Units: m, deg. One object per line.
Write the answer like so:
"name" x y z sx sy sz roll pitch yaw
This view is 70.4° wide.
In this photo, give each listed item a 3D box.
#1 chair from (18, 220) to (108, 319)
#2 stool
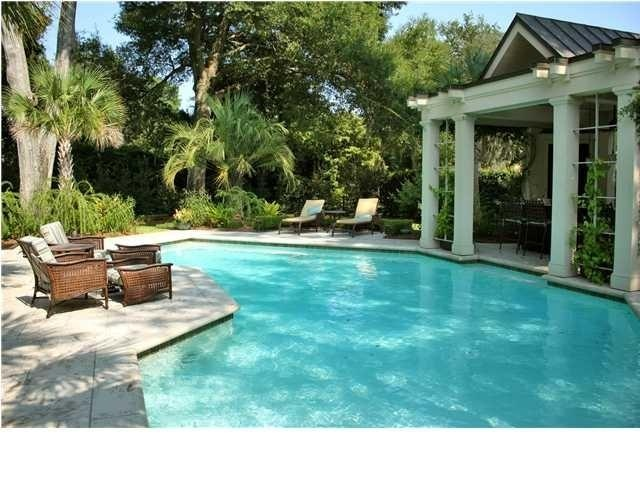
"chair" -3.819 0.447 6.890 1.347 1.326 1.042 -1 5 -42
"stool" -2.992 0.465 7.544 0.856 0.565 1.267 -2 17 -25
